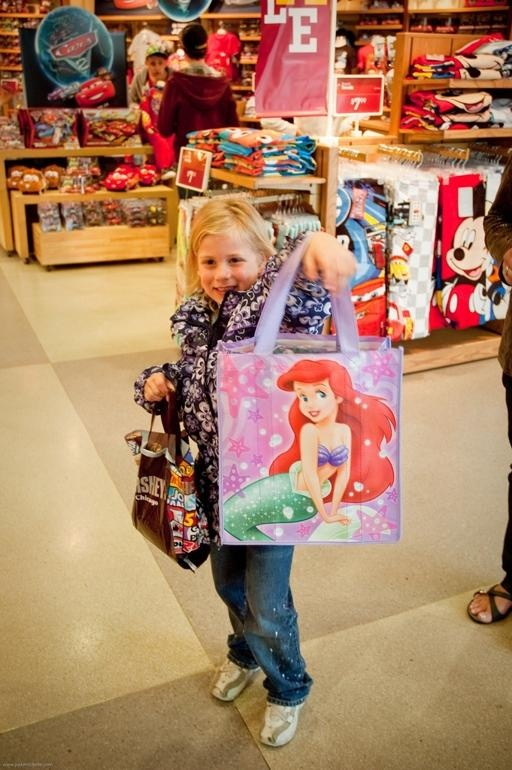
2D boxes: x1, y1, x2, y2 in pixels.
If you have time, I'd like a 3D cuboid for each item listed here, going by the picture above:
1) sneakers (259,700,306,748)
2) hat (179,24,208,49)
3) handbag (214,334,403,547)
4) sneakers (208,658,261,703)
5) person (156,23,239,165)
[{"bbox_3d":[0.053,0.718,1.165,0.043,0.056,0.129,1,3,19],"label":"sneakers"},{"bbox_3d":[-0.485,-2.722,4.360,0.163,0.212,0.191,-2,9,-10],"label":"hat"},{"bbox_3d":[0.066,0.071,0.680,0.260,0.277,0.095,-1,17,2],"label":"handbag"},{"bbox_3d":[-0.050,0.704,1.355,0.049,0.064,0.149,14,26,29],"label":"sneakers"},{"bbox_3d":[-0.480,-2.419,4.548,0.676,1.038,0.425,-3,12,-10],"label":"person"}]
